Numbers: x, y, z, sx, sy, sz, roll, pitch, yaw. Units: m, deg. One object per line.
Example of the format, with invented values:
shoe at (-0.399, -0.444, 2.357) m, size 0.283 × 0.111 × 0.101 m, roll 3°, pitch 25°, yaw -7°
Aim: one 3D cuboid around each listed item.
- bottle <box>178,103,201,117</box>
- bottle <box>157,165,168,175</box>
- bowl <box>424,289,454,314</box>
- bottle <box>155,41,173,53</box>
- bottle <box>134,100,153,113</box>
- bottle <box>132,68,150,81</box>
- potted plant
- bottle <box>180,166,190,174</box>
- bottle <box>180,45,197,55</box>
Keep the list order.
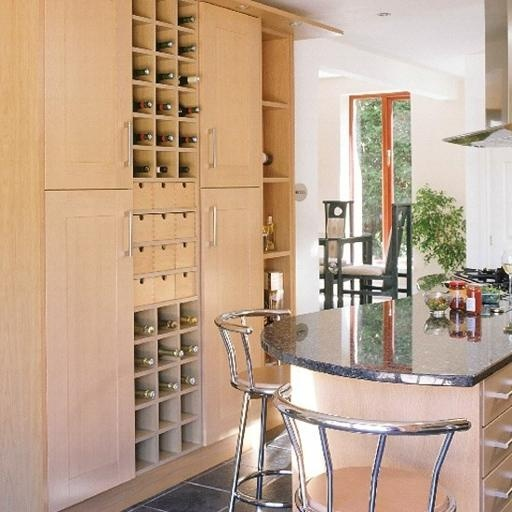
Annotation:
bottle at (-0.360, -0.786, 3.263) m, size 0.105 × 0.048 × 0.038 m, roll 5°, pitch -2°, yaw 28°
bottle at (-0.493, -0.454, 3.186) m, size 0.062 × 0.047 × 0.101 m, roll 2°, pitch 3°, yaw -14°
bowl at (0.770, 0.192, 2.570) m, size 0.128 × 0.080 × 0.112 m, roll 1°, pitch 2°, yaw 30°
bottle at (-0.470, -1.084, 3.122) m, size 0.088 × 0.017 × 0.056 m, roll 0°, pitch 3°, yaw 41°
bottle at (-0.570, -0.750, 3.023) m, size 0.056 × 0.042 × 0.154 m, roll -6°, pitch 9°, yaw -38°
bottle at (-0.567, -0.905, 3.003) m, size 0.137 × 0.037 × 0.050 m, roll 5°, pitch 10°, yaw 43°
potted plant at (2.374, -0.370, 7.851) m, size 0.655 × 1.138 × 0.813 m, roll -3°, pitch 5°, yaw 14°
bottle at (-0.383, -0.475, 3.304) m, size 0.056 × 0.024 × 0.095 m, roll -1°, pitch 0°, yaw -2°
bottle at (-0.368, -1.106, 3.236) m, size 0.121 × 0.030 × 0.045 m, roll 1°, pitch 11°, yaw 30°
